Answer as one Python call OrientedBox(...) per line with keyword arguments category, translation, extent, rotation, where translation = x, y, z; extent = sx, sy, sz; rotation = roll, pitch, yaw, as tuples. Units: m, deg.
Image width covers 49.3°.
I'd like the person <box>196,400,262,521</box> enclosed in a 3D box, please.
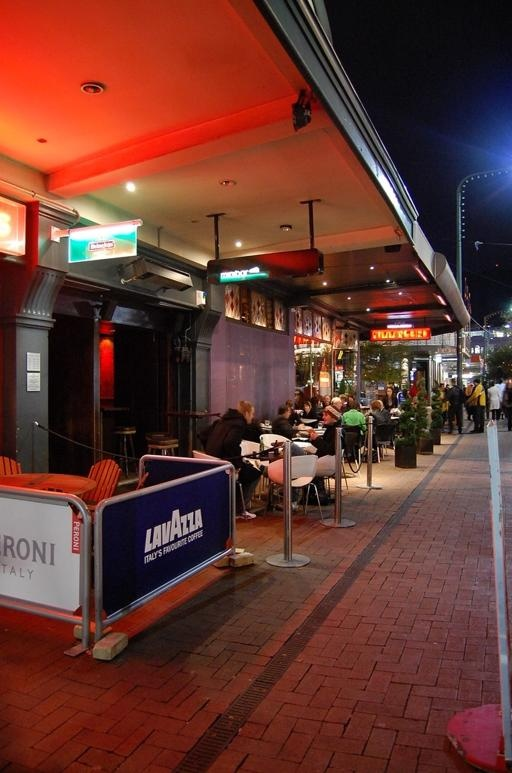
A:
OrientedBox(category="person", translation=(-0.337, 1.034, 7.642), extent=(0.710, 1.644, 1.613), rotation=(-1, -2, 8))
